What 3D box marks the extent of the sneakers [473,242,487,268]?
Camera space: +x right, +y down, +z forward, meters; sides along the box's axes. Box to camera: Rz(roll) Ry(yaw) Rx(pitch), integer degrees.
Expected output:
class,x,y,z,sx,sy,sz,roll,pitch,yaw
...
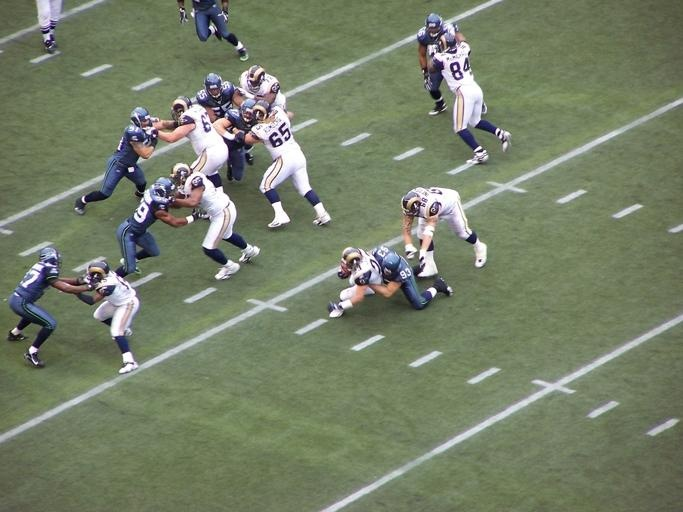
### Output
class,x,y,z,sx,sy,sz,roll,pitch,yaw
sneakers,1.761,-0.010,14.150,0.153,0.310,0.183,3,3,35

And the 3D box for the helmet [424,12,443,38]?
class,x,y,z,sx,sy,sz,roll,pitch,yaw
helmet,1.357,-3.305,16.149,0.401,0.324,0.366,3,-7,9

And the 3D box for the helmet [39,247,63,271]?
class,x,y,z,sx,sy,sz,roll,pitch,yaw
helmet,-3.434,0.016,13.291,0.363,0.236,0.266,-3,13,-37

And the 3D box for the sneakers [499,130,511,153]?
class,x,y,z,sx,sy,sz,roll,pitch,yaw
sneakers,2.298,-1.605,15.670,0.156,0.325,0.127,-4,60,5

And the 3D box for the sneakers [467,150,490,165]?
class,x,y,z,sx,sy,sz,roll,pitch,yaw
sneakers,1.915,-1.424,15.823,0.300,0.242,0.291,-11,31,11

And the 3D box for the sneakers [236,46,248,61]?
class,x,y,z,sx,sy,sz,roll,pitch,yaw
sneakers,-1.581,-3.207,17.714,0.163,0.263,0.231,-14,69,7

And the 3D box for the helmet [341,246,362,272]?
class,x,y,z,sx,sy,sz,roll,pitch,yaw
helmet,0.122,0.026,13.299,0.362,0.284,0.191,8,68,1

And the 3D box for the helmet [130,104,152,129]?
class,x,y,z,sx,sy,sz,roll,pitch,yaw
helmet,-2.666,-1.788,14.745,0.236,0.260,0.386,-21,30,-1

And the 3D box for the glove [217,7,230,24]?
class,x,y,z,sx,sy,sz,roll,pitch,yaw
glove,-1.935,-3.777,17.678,0.112,0.206,0.250,-36,70,7

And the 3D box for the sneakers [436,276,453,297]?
class,x,y,z,sx,sy,sz,roll,pitch,yaw
sneakers,1.244,0.379,13.778,0.162,0.345,0.106,-40,42,22

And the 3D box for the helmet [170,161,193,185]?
class,x,y,z,sx,sy,sz,roll,pitch,yaw
helmet,-2.020,-1.018,13.933,0.260,0.260,0.200,-22,32,-3

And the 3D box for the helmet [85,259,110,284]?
class,x,y,z,sx,sy,sz,roll,pitch,yaw
helmet,-2.886,0.193,13.171,0.197,0.197,0.197,30,50,-8

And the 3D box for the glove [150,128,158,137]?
class,x,y,z,sx,sy,sz,roll,pitch,yaw
glove,-2.485,-1.616,14.660,0.135,0.087,0.045,1,1,-17

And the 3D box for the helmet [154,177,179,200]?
class,x,y,z,sx,sy,sz,roll,pitch,yaw
helmet,-2.181,-0.813,13.808,0.225,0.282,0.153,-37,36,-23
